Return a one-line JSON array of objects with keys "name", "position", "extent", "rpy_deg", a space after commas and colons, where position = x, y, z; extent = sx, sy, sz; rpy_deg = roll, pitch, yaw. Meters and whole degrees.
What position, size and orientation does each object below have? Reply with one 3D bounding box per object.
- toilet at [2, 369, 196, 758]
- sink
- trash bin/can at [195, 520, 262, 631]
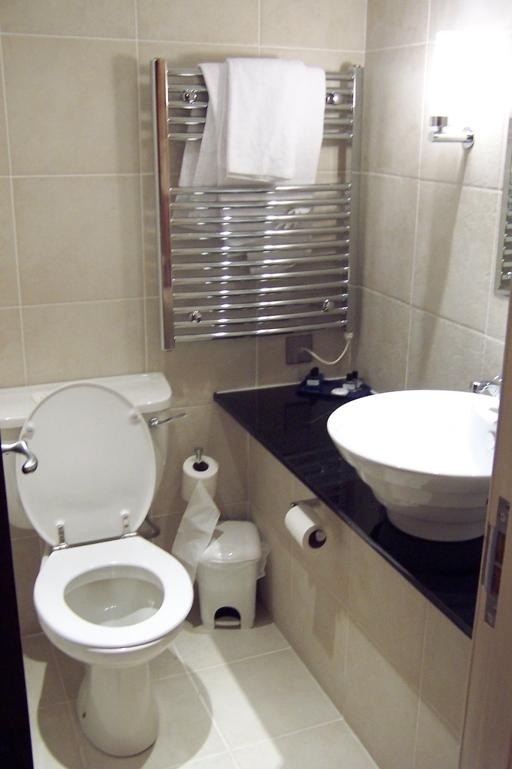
[{"name": "toilet", "position": [-0.414, 0.517, 1.661], "extent": [0.428, 0.957, 0.547], "rpy_deg": [-6, 15, -23]}, {"name": "sink", "position": [0.360, 0.136, 1.346], "extent": [0.305, 0.141, 0.331], "rpy_deg": [9, 27, 21]}, {"name": "trash bin/can", "position": [-0.084, 0.685, 2.223], "extent": [0.259, 0.391, 0.307], "rpy_deg": [0, 14, -4]}]
